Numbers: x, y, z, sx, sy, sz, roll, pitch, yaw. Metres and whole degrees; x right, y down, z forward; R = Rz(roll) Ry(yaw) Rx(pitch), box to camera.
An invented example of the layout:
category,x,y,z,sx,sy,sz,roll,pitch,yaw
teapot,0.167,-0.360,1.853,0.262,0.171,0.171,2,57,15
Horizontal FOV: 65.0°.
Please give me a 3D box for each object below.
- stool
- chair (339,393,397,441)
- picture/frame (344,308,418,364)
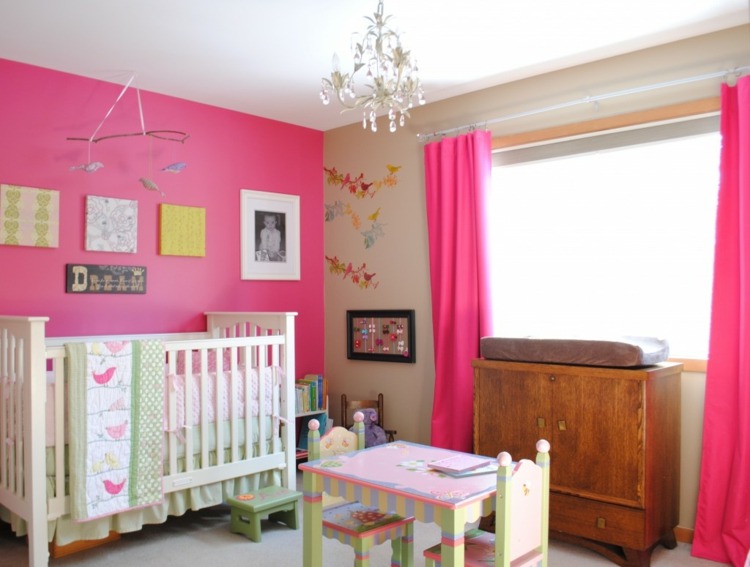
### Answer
category,x,y,z,sx,sy,sz,roll,pitch,yaw
stool,-0.702,1.445,3.706,0.290,0.229,0.393,-2,-4,33
chair,-0.067,1.086,4.897,0.393,0.611,0.388,-1,-10,-2
picture/frame,0.040,0.423,4.861,0.695,0.419,0.098,-3,-3,45
